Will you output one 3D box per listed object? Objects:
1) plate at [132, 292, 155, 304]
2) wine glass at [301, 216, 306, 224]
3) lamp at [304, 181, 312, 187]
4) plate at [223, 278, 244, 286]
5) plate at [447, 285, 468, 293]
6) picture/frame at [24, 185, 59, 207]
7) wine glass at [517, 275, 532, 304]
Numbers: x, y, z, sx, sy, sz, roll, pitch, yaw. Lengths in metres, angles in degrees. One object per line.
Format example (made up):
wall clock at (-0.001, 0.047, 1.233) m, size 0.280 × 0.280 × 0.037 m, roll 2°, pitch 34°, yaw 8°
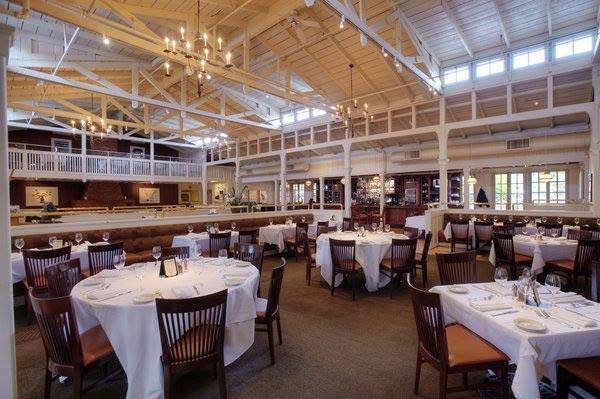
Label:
plate at (-2.361, 1.484, 6.341) m, size 0.315 × 0.109 × 0.237 m, roll -1°, pitch -2°, yaw -22°
wine glass at (0.099, 0.591, 12.349) m, size 0.172 × 0.229 × 0.156 m, roll -2°, pitch 1°, yaw -29°
lamp at (0.377, -0.781, 19.796) m, size 0.252 × 0.183 × 0.247 m, roll -4°, pitch -11°, yaw 24°
plate at (-1.055, 1.302, 6.702) m, size 0.291 × 0.099 × 0.223 m, roll -1°, pitch -2°, yaw -15°
plate at (2.493, 1.402, 6.624) m, size 0.307 × 0.127 × 0.166 m, roll -2°, pitch -1°, yaw 12°
picture/frame at (-10.608, -0.160, 17.069) m, size 0.022 × 0.696 × 1.065 m, roll -5°, pitch -4°, yaw 32°
wine glass at (3.440, 1.355, 6.397) m, size 0.219 × 0.431 × 0.144 m, roll -2°, pitch -1°, yaw 13°
